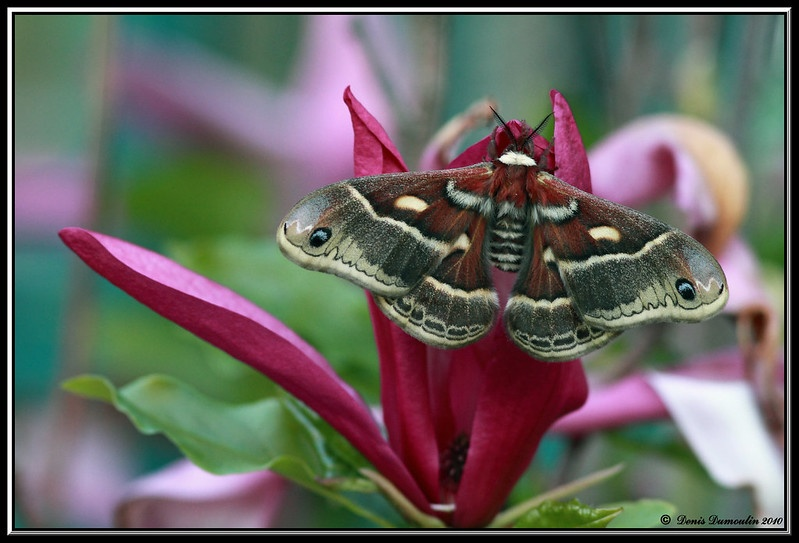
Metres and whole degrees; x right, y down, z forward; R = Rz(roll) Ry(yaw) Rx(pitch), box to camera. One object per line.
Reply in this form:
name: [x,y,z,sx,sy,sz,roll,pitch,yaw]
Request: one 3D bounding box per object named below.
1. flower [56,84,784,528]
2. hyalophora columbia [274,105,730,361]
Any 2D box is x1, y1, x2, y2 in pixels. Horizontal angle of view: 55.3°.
flower: [0.114,0.113,1.160,0.822,0.395,0.729,1,-3,2]
hyalophora columbia: [0.130,-0.039,1.004,0.565,0.299,0.162,-8,13,-9]
